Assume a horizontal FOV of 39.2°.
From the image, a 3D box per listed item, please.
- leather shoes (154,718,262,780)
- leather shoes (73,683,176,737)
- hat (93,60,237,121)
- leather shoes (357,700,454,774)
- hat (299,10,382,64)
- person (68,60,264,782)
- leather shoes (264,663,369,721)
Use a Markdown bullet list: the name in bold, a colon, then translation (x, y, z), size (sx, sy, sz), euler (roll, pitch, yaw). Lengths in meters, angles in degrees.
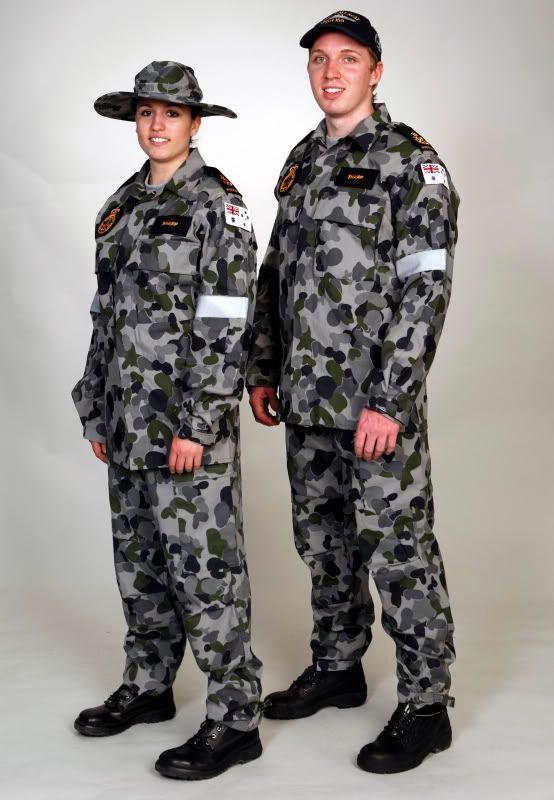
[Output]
- **leather shoes**: translation (-0.156, 0.810, 1.814), size (0.251, 0.101, 0.091), euler (9, -13, -33)
- **leather shoes**: translation (-0.387, 0.806, 2.046), size (0.278, 0.104, 0.094), euler (2, -7, -24)
- **hat**: translation (-0.267, -0.719, 1.831), size (0.317, 0.097, 0.311), euler (-5, 8, -30)
- **leather shoes**: translation (0.297, 0.800, 1.870), size (0.279, 0.154, 0.095), euler (1, -8, -28)
- **hat**: translation (0.168, -0.881, 1.850), size (0.169, 0.083, 0.181), euler (9, 11, 1)
- **person**: translation (-0.272, 0.029, 1.893), size (0.355, 1.646, 0.482), euler (-6, 6, -43)
- **leather shoes**: translation (0.110, 0.790, 2.125), size (0.325, 0.129, 0.103), euler (1, -4, -16)
